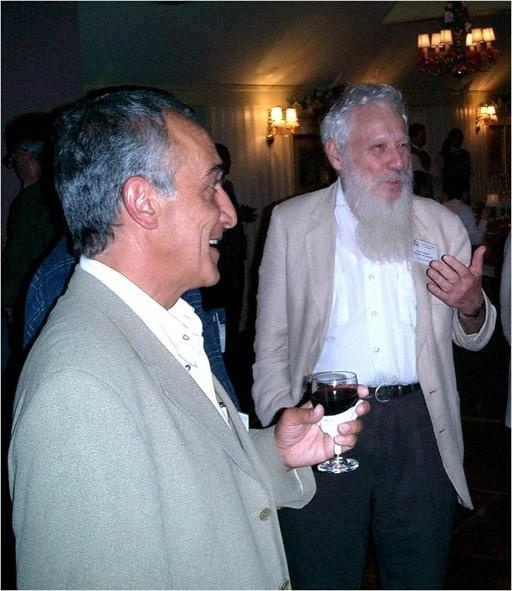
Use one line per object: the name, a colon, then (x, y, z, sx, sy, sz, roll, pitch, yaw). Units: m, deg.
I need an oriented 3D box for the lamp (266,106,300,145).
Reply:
lamp: (0.455, -3.040, 9.345, 0.626, 0.606, 0.474, -15, 25, -34)

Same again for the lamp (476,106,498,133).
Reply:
lamp: (5.755, -4.446, 12.977, 0.752, 0.625, 0.226, -15, 20, -30)
